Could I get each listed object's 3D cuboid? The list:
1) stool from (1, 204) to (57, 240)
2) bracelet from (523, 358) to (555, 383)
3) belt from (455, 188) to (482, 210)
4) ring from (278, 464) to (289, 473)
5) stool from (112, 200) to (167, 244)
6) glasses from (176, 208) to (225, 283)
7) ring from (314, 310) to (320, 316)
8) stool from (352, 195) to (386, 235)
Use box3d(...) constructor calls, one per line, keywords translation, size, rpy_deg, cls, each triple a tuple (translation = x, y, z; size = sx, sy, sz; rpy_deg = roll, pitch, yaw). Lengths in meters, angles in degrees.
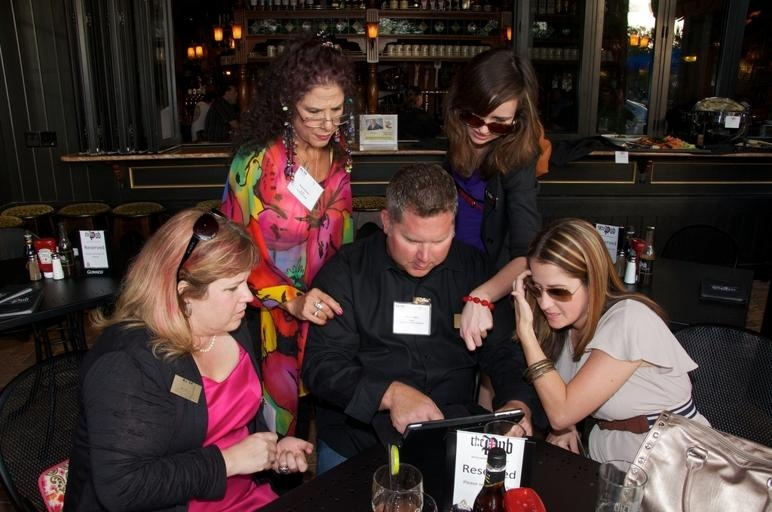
box3d(translation=(-3.136, -0.305, 4.941), size=(0.333, 0.411, 0.369), rpy_deg=(1, 11, -5), cls="stool")
box3d(translation=(0.657, 0.485, 2.401), size=(0.100, 0.049, 0.102), rpy_deg=(-26, -18, -23), cls="bracelet")
box3d(translation=(0.455, -0.315, 3.073), size=(0.132, 0.041, 0.100), rpy_deg=(38, -2, -24), cls="belt")
box3d(translation=(-0.422, 0.883, 2.313), size=(0.026, 0.031, 0.044), rpy_deg=(5, -17, -24), cls="ring")
box3d(translation=(-2.464, -0.279, 5.441), size=(0.443, 0.548, 0.478), rpy_deg=(-3, 21, -34), cls="stool")
box3d(translation=(-0.719, -0.084, 2.194), size=(0.070, 0.246, 0.230), rpy_deg=(31, 40, -17), cls="glasses")
box3d(translation=(-0.308, 0.257, 2.523), size=(0.008, 0.023, 0.023), rpy_deg=(26, 14, -18), cls="ring")
box3d(translation=(-0.189, -0.408, 5.238), size=(0.319, 0.368, 0.325), rpy_deg=(-4, 13, -15), cls="stool")
